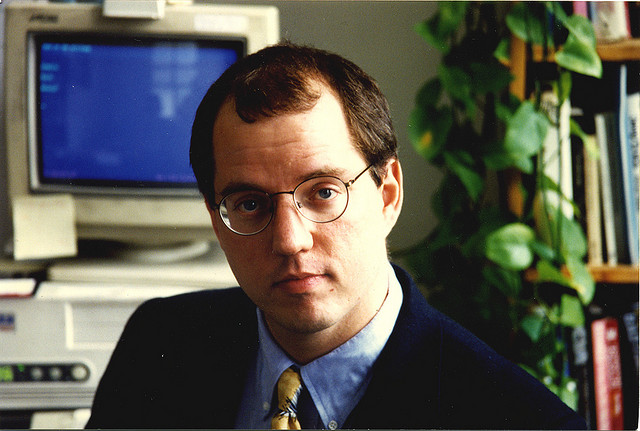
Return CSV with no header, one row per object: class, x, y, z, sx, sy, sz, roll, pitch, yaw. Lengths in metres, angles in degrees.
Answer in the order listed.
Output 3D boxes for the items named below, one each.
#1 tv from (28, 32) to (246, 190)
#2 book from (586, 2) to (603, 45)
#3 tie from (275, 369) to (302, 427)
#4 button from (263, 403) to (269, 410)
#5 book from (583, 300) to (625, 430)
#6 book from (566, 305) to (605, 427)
tv,-0.467,-0.294,2.396,0.706,0.504,0.385,2,6,11
book,0.782,-0.544,2.303,0.046,0.118,0.006,-6,7,-18
tie,-0.083,0.512,2.292,0.088,0.144,0.047,16,2,5
button,-0.151,0.529,2.246,0.016,0.019,0.002,-4,6,-7
book,0.826,0.435,2.343,0.101,0.373,0.042,-5,6,-11
book,0.778,0.435,2.339,0.126,0.344,0.043,-6,7,-22
